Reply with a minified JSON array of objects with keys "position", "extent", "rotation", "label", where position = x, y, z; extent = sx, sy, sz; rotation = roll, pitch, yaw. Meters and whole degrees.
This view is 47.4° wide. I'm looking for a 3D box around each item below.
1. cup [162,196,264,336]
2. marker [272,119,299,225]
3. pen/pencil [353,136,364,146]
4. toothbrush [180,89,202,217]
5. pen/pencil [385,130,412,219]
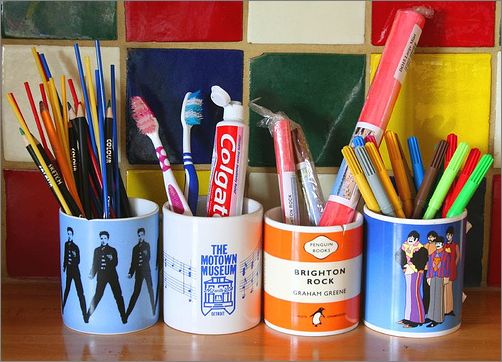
[{"position":[-0.047,0.120,0.827],"extent":[0.142,0.165,0.158],"rotation":[1,3,0],"label":"cup"},{"position":[0.048,-0.014,0.784],"extent":[0.029,0.136,0.059],"rotation":[-3,21,-5],"label":"marker"},{"position":[0.141,-0.053,0.748],"extent":[0.012,0.013,0.013],"rotation":[2,-4,-2],"label":"pen/pencil"},{"position":[-0.080,-0.039,0.810],"extent":[0.029,0.172,0.027],"rotation":[-3,-3,14],"label":"toothbrush"},{"position":[0.203,-0.012,0.775],"extent":[0.021,0.161,0.022],"rotation":[-14,-14,30],"label":"pen/pencil"}]
